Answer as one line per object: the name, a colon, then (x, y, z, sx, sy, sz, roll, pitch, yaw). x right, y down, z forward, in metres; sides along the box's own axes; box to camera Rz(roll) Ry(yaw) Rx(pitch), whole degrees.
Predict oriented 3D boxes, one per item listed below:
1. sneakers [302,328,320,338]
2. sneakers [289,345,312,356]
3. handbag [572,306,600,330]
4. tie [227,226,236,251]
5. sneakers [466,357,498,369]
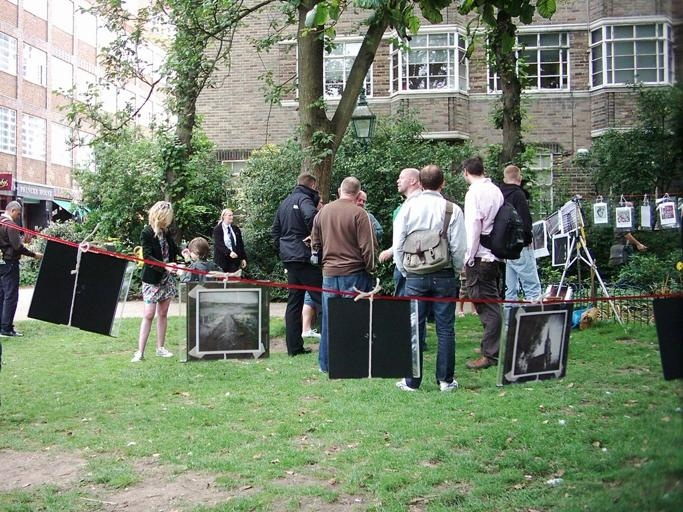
sneakers: (-0.512, 1.287, 12.181, 0.299, 0.139, 0.119, 0, 4, 4)
sneakers: (-0.633, 1.382, 10.901, 0.360, 0.164, 0.121, -10, 13, -38)
handbag: (3.947, 1.002, 11.809, 0.408, 0.271, 0.505, 0, 8, 19)
tie: (-2.136, -0.367, 14.185, 0.082, 0.371, 0.265, -10, 21, 4)
sneakers: (1.830, 1.389, 9.557, 0.403, 0.191, 0.152, 2, -2, 14)
